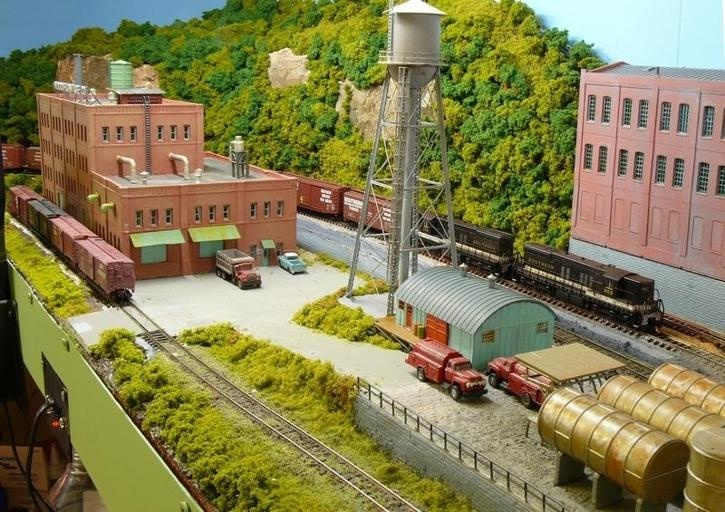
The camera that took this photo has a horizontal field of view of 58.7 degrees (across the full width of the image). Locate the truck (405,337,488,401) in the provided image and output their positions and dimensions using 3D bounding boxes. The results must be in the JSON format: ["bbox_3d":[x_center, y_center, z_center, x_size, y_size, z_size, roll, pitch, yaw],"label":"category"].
[{"bbox_3d":[5.023,7.234,39.090,3.379,3.497,3.119,-1,6,-7],"label":"truck"}]

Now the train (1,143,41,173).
[{"bbox_3d":[-51.179,-14.745,96.402,4.634,3.063,7.083,-6,10,-41],"label":"train"}]

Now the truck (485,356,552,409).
[{"bbox_3d":[9.200,7.340,37.893,1.695,1.652,3.678,-4,20,-25],"label":"truck"}]

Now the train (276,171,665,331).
[{"bbox_3d":[7.064,-2.547,64.818,6.114,6.647,47.213,-14,20,-39],"label":"train"}]

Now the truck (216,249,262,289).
[{"bbox_3d":[-10.890,1.510,57.381,3.141,4.011,2.789,-1,8,-24],"label":"truck"}]
